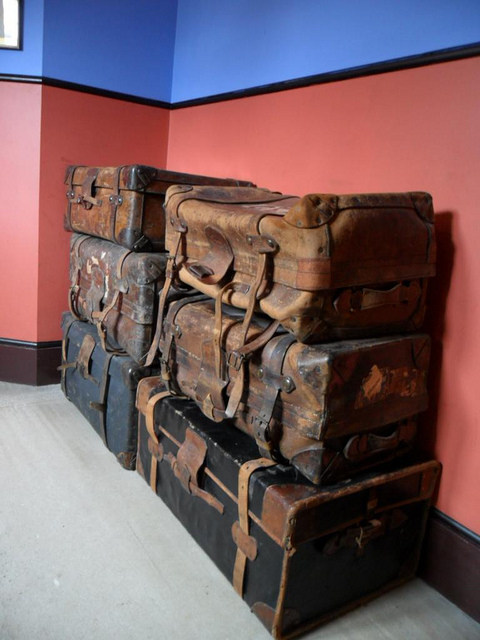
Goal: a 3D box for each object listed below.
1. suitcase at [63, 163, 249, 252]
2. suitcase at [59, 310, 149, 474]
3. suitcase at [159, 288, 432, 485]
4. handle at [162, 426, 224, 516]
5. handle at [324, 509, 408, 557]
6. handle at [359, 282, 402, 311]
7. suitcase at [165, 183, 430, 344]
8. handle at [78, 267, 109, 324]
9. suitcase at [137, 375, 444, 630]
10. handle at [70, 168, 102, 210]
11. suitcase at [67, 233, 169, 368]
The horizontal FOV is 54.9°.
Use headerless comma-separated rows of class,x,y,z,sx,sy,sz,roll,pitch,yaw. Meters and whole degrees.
suitcase,-0.516,-0.534,2.242,0.688,0.348,0.551,17,14,40
suitcase,-0.577,0.322,1.977,0.393,0.314,0.568,-1,21,-46
suitcase,0.088,0.135,1.467,0.481,0.385,0.844,-7,17,-33
handle,-0.141,0.465,1.438,0.041,0.150,0.301,2,20,-33
handle,0.328,0.546,1.211,0.164,0.050,0.133,-17,18,-41
handle,0.346,-0.059,1.142,0.166,0.065,0.014,-4,13,-37
suitcase,0.141,-0.198,1.376,0.451,0.382,0.699,-4,14,-36
handle,-0.664,-0.120,2.093,0.128,0.238,0.219,-2,11,-35
suitcase,0.082,0.501,1.598,0.597,0.423,0.958,-5,15,-31
handle,-0.711,-0.608,2.148,0.201,0.196,0.055,12,3,27
suitcase,-0.533,-0.137,2.103,0.392,0.407,0.721,-9,23,-40
